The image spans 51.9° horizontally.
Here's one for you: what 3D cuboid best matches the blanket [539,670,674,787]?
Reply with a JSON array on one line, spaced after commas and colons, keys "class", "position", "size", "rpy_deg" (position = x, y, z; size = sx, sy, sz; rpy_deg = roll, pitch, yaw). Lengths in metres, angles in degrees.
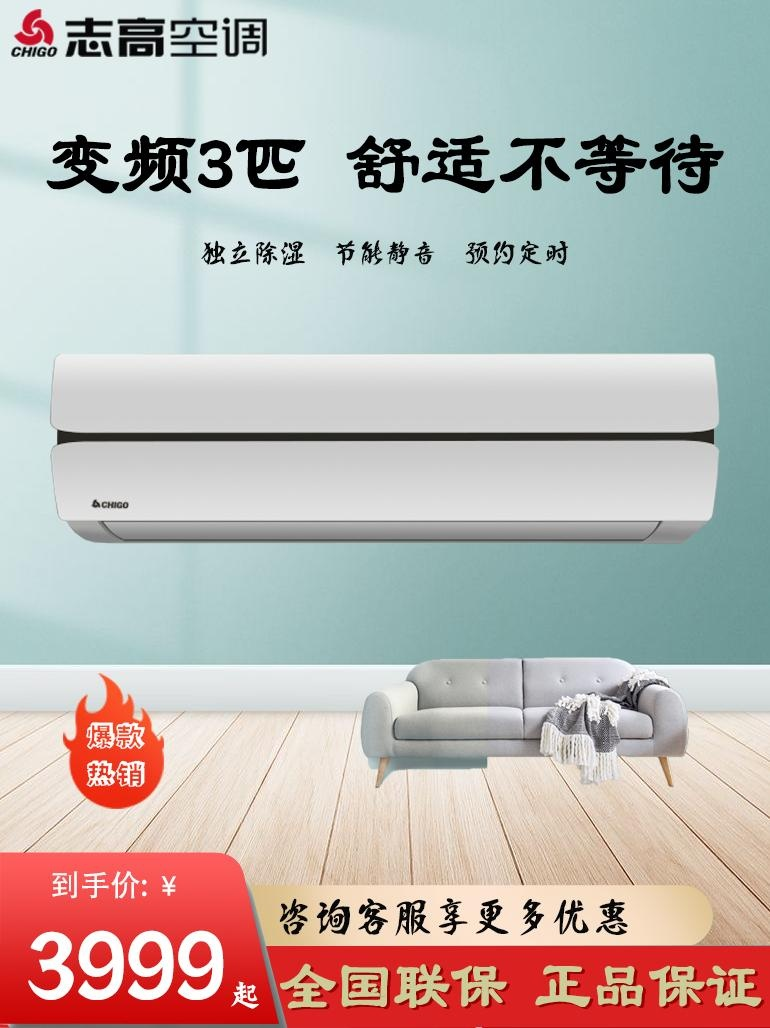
[{"class": "blanket", "position": [0.780, 0.768, 2.845], "size": [0.423, 0.367, 0.325], "rpy_deg": [2, -7, -4]}]
